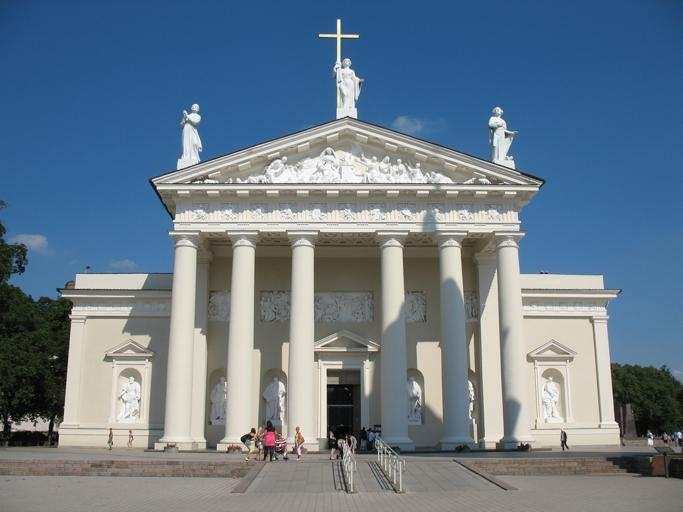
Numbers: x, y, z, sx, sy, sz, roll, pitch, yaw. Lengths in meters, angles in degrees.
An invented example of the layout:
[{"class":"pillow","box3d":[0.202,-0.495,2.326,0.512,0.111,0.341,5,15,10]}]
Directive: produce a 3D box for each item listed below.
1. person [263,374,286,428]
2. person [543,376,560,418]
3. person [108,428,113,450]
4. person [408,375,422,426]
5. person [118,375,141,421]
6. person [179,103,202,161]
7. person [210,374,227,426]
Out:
[{"class":"person","box3d":[-3.654,8.148,38.548,1.247,2.781,0.550,1,-14,-6]},{"class":"person","box3d":[12.331,8.431,40.976,1.067,2.645,0.430,7,-16,-27]},{"class":"person","box3d":[-12.758,10.130,38.707,0.338,1.087,1.526,4,-16,-17]},{"class":"person","box3d":[4.117,8.083,38.768,0.944,2.508,0.371,10,-17,-34]},{"class":"person","box3d":[-12.019,8.185,39.852,1.255,2.528,0.345,-4,-15,15]},{"class":"person","box3d":[-8.106,-6.605,37.931,0.999,3.401,0.996,4,-15,-14]},{"class":"person","box3d":[-6.773,7.980,38.354,0.959,2.510,0.269,-4,-15,15]}]
